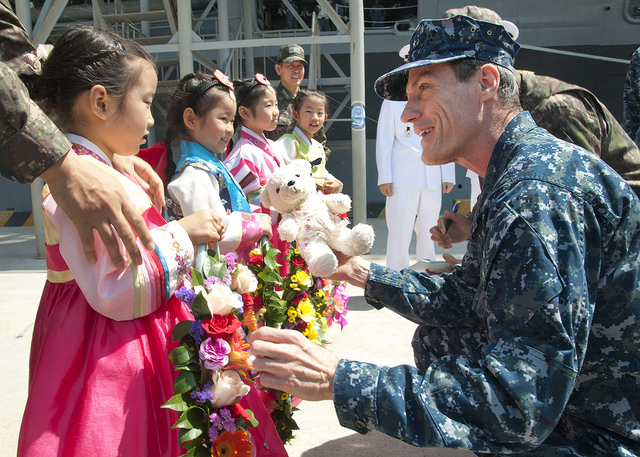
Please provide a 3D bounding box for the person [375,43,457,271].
[{"bbox_3d":[0.806,-0.538,5.491,0.616,1.935,0.486,-4,30,-1],"label":"person"}]

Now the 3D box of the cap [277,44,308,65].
[{"bbox_3d":[-0.236,-1.577,5.701,0.216,0.172,0.321,-3,8,-20],"label":"cap"}]

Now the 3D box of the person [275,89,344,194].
[{"bbox_3d":[-0.076,-0.625,4.870,0.592,0.873,0.507,-3,3,-31],"label":"person"}]

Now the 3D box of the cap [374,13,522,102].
[{"bbox_3d":[0.461,-0.687,2.548,0.586,0.296,0.377,9,10,42],"label":"cap"}]

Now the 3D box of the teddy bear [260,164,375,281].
[{"bbox_3d":[-0.027,-0.006,3.014,0.405,0.297,0.588,-31,55,-16],"label":"teddy bear"}]

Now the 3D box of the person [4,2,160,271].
[{"bbox_3d":[-0.906,-0.366,2.437,0.572,0.971,0.527,0,7,-15],"label":"person"}]
